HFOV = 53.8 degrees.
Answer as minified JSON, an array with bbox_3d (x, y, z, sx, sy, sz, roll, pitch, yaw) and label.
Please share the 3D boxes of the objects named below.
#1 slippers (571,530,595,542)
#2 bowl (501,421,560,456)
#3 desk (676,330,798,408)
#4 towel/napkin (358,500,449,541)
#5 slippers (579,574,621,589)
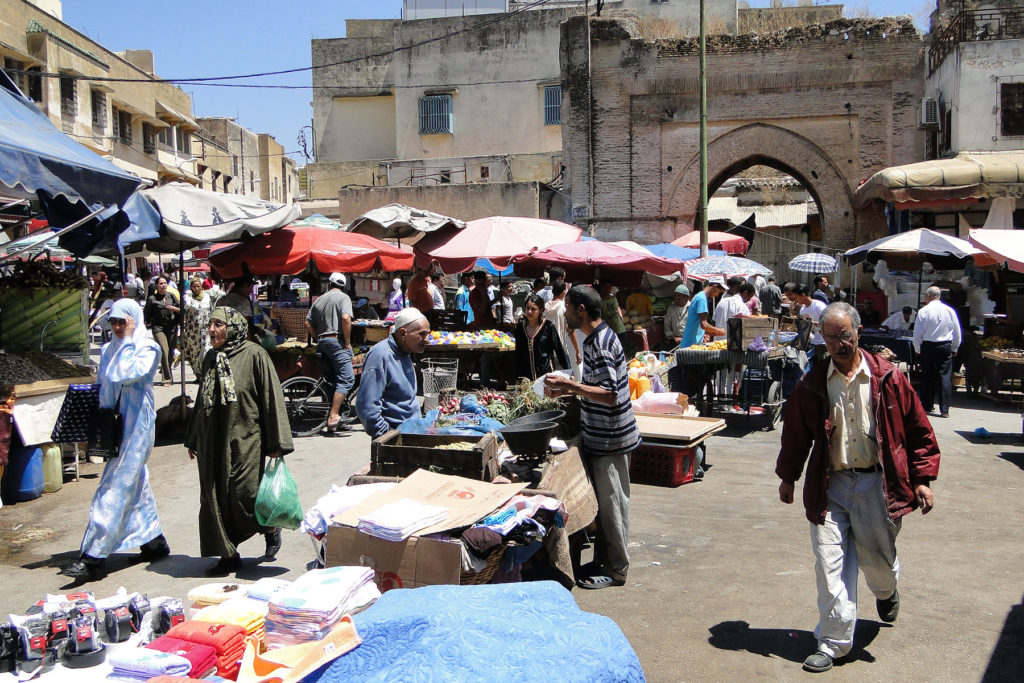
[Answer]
[{"bbox_3d":[0.731,2.000,10.284,0.203,0.058,0.221,-23,-24,36],"label":"slippers"},{"bbox_3d":[0.136,0.881,9.376,0.340,0.158,0.348,-2,2,0],"label":"bowl"},{"bbox_3d":[3.204,0.486,15.122,1.162,0.737,1.406,1,7,16],"label":"desk"},{"bbox_3d":[-0.950,1.517,8.467,0.557,0.228,0.825,-5,-16,5],"label":"towel/napkin"},{"bbox_3d":[0.833,2.289,9.608,0.382,0.143,0.141,4,-4,-6],"label":"slippers"}]
